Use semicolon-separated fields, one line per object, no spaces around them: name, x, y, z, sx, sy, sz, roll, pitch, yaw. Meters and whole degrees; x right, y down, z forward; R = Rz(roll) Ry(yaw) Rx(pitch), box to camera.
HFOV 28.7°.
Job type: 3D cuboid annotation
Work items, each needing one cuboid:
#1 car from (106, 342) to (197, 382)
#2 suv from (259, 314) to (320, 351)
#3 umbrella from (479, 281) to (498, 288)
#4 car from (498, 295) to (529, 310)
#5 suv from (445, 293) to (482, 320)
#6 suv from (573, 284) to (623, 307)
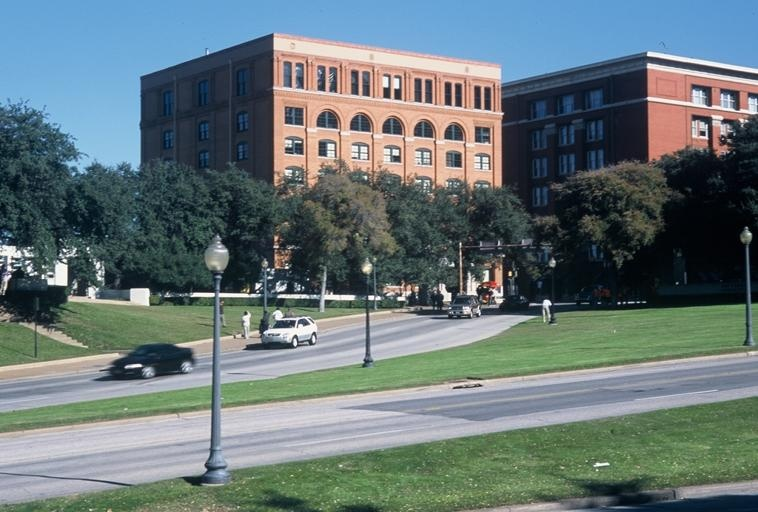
car;-16.318;7.291;107.323;2.799;1.874;6.334;14;11;35
suv;-6.969;5.950;118.651;2.243;1.667;4.148;-4;-7;27
umbrella;12.006;2.848;164.962;1.462;0.925;5.767;-1;-4;8
car;12.900;4.408;142.555;2.435;1.454;3.804;-1;-5;11
suv;7.669;4.494;133.622;1.808;1.362;2.941;-3;-8;19
suv;20.912;3.821;146.340;3.589;1.501;1.979;3;3;35
